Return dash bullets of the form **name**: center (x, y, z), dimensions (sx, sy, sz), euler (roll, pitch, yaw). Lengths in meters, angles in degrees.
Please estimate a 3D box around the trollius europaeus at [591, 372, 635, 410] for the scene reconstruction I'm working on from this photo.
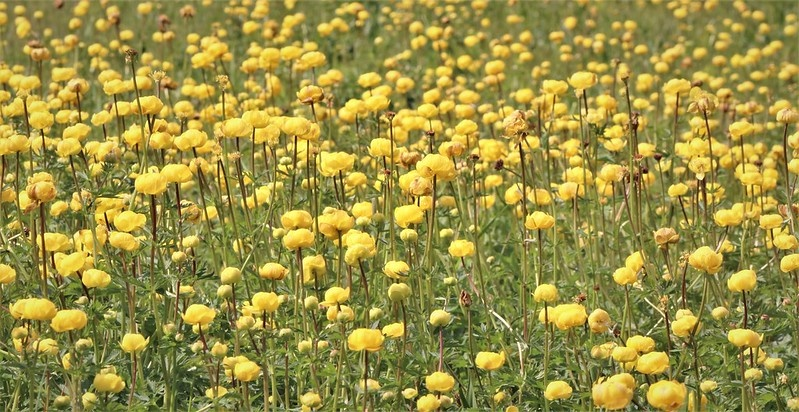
- **trollius europaeus**: center (1.513, 1.320, 8.143), dimensions (0.240, 0.180, 0.296), euler (-23, 0, -14)

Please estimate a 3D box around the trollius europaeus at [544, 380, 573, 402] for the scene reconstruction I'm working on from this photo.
- **trollius europaeus**: center (1.155, 1.344, 8.400), dimensions (0.163, 0.117, 0.147), euler (-7, -4, -9)
